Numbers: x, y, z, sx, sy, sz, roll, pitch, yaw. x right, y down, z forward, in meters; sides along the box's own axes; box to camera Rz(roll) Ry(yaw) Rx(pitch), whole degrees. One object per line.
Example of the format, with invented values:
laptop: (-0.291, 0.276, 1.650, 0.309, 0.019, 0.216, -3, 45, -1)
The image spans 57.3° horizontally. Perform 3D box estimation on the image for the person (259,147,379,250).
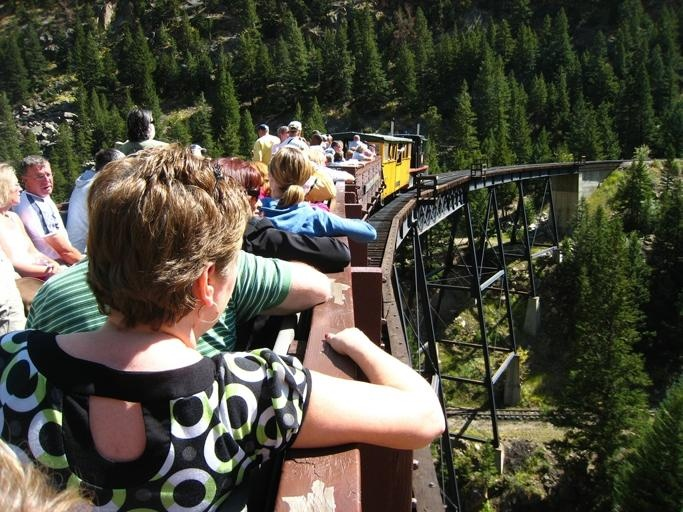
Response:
person: (-0.169, -0.424, 4.128, 0.808, 0.589, 1.281, 13, 13, 11)

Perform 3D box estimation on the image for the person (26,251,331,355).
person: (-0.493, 0.036, 2.396, 0.540, 0.331, 0.753, 1, 8, 26)

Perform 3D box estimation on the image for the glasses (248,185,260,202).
glasses: (-0.459, -0.324, 3.235, 0.045, 0.060, 0.064, 1, 34, 2)

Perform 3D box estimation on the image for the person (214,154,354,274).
person: (-0.372, -0.262, 3.575, 0.869, 0.659, 1.208, -5, 15, -13)
